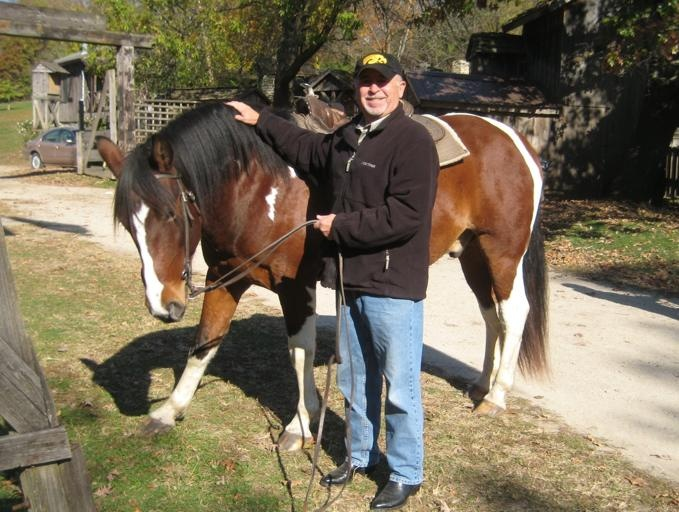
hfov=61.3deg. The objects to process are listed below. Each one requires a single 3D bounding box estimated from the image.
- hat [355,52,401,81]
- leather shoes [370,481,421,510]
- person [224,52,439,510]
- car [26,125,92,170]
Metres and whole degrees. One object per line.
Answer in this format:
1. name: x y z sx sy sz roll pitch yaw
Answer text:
1. hat: 0.248 -1.125 3.394 0.241 0.167 0.256 11 15 27
2. leather shoes: 0.367 1.464 3.637 0.335 0.143 0.143 -5 6 -38
3. person: 0.073 0.137 3.668 0.638 2.747 1.206 -7 17 -40
4. car: -8.972 -3.378 18.161 2.022 1.320 0.943 13 16 34
